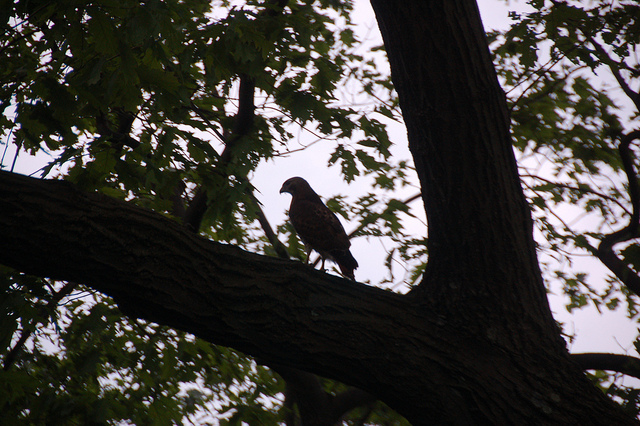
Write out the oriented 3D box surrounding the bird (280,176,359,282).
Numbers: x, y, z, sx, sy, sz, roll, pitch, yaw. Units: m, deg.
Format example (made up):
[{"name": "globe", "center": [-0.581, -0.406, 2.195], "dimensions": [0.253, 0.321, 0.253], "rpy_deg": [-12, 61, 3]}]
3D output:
[{"name": "bird", "center": [0.002, 0.097, 17.296], "dimensions": [0.619, 1.795, 0.880], "rpy_deg": [-40, -66, 18]}]
